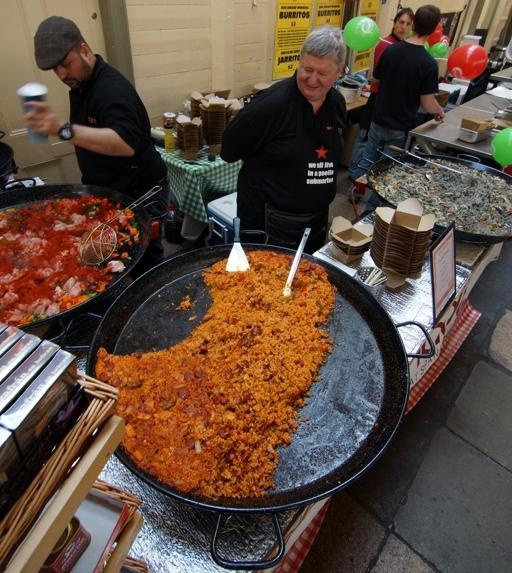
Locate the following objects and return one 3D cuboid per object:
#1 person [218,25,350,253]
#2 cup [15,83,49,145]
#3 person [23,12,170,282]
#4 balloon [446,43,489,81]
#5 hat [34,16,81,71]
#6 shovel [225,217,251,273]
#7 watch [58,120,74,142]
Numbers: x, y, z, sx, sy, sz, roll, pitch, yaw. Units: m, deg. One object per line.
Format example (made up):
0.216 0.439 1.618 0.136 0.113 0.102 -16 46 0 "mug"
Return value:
0.215 -0.681 2.682 0.612 1.730 0.675 24 48 23 "person"
-1.025 -0.800 1.945 0.144 0.278 0.152 0 38 0 "cup"
-0.983 -0.724 2.813 0.726 1.827 0.895 -13 41 -19 "person"
2.307 -2.430 4.558 0.481 0.374 0.374 -11 31 -29 "balloon"
-1.029 -1.287 2.151 0.237 0.188 0.344 3 42 14 "hat"
-0.078 -0.156 1.725 0.101 0.146 0.172 1 38 2 "shovel"
-0.969 -0.788 2.102 0.078 0.077 0.078 -17 73 -36 "watch"
